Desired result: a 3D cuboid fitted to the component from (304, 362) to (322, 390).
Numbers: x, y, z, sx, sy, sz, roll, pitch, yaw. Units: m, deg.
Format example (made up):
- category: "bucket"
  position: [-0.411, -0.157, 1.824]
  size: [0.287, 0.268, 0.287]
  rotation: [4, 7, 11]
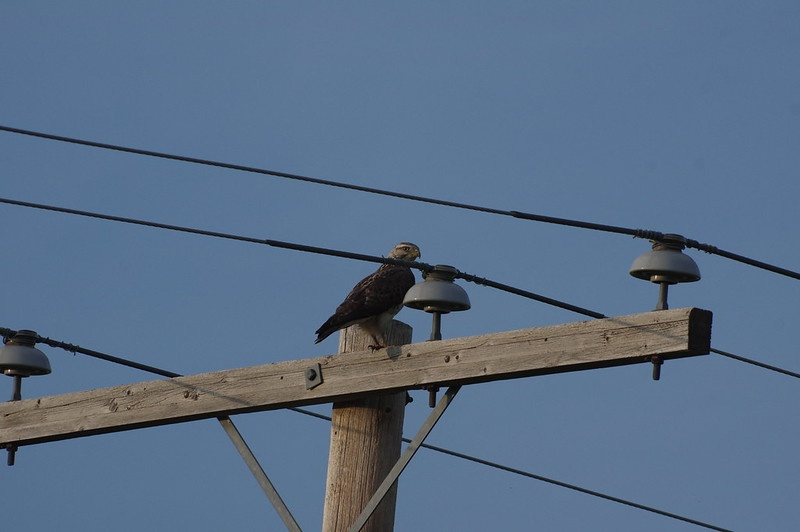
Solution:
- category: "component"
  position: [-0.776, 0.964, 19.198]
  size: [0.211, 0.201, 0.058]
  rotation: [-15, -15, 35]
